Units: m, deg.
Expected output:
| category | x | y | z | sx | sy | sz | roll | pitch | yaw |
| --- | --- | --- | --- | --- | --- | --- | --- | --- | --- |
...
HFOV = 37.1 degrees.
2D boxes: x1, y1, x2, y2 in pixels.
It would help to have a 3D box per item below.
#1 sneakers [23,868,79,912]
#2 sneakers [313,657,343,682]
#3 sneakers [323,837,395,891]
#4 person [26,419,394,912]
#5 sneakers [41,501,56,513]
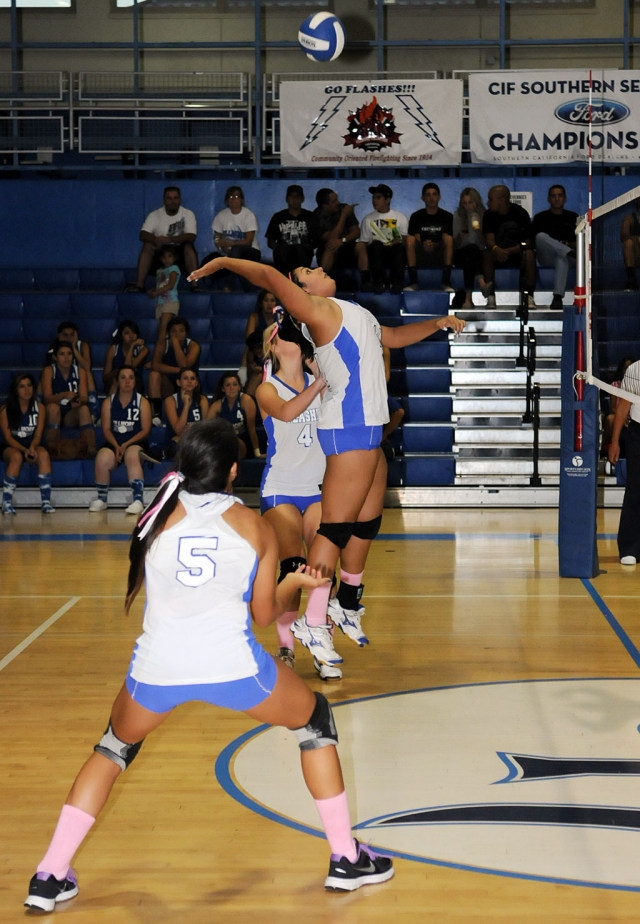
| category | x | y | z | sx | sy | sz | roll | pitch | yaw |
| --- | --- | --- | --- | --- | --- | --- | --- | --- | --- |
| sneakers | -0.578 | 0.926 | 2.104 | 0.063 | 0.068 | 0.158 | 0 | 3 | 14 |
| sneakers | 0.028 | 0.899 | 4.109 | 0.058 | 0.063 | 0.145 | 1 | 0 | -21 |
| sneakers | 0.092 | 0.926 | 2.250 | 0.080 | 0.087 | 0.207 | 0 | 1 | 43 |
| person | -0.250 | 0.452 | 2.089 | 0.819 | 1.083 | 0.287 | -1 | 4 | -1 |
| sneakers | -2.667 | 0.430 | 9.306 | 0.113 | 0.121 | 0.296 | 0 | -3 | -10 |
